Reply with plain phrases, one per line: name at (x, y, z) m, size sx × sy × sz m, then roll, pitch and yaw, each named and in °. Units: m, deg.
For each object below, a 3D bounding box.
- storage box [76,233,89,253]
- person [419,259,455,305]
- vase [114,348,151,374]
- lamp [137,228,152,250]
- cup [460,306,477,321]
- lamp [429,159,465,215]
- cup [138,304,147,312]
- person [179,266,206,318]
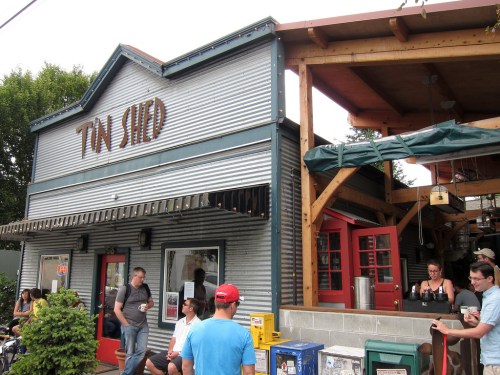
storage box at (-5.036, 1.657, 12.040) m, size 0.459 × 0.525 × 0.180 m, roll -14°, pitch -21°, yaw 40°
person at (3.416, 1.767, 7.338) m, size 0.516 × 0.869 × 0.653 m, roll 6°, pitch -16°, yaw -25°
vase at (-2.673, 3.909, 9.117) m, size 0.819 × 0.789 × 0.751 m, roll 3°, pitch -25°, yaw -12°
lamp at (-2.695, 1.317, 10.348) m, size 0.492 × 0.719 × 0.238 m, roll -7°, pitch -13°, yaw 35°
cup at (3.034, 1.745, 5.623) m, size 0.193 × 0.200 × 0.279 m, roll 8°, pitch -18°, yaw -20°
lamp at (4.967, 0.049, 10.232) m, size 0.534 × 1.275 × 2.982 m, roll -9°, pitch -18°, yaw 29°
cup at (-2.293, 2.528, 8.481) m, size 0.202 × 0.175 × 0.126 m, roll -1°, pitch 1°, yaw -23°
person at (-1.225, 2.587, 9.262) m, size 0.474 × 1.434 × 0.733 m, roll -1°, pitch 0°, yaw 23°
